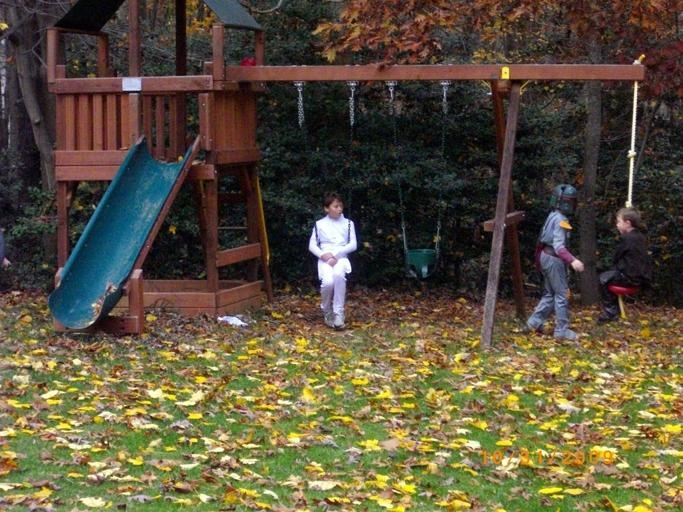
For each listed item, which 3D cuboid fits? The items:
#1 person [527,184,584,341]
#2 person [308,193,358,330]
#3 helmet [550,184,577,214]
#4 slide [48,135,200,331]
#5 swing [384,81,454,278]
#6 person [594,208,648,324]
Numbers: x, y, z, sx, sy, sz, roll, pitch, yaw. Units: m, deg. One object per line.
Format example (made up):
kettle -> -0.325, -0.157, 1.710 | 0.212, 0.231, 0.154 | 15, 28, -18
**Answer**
person -> 2.971, 0.092, 11.607 | 0.827, 2.088, 0.918 | -1, 2, -10
person -> -0.106, 0.075, 12.063 | 0.735, 1.833, 0.666 | 2, 11, -9
helmet -> 3.054, -0.778, 11.511 | 0.311, 0.397, 0.330 | 3, 5, 13
slide -> -2.771, -0.188, 10.766 | 0.952, 3.591, 0.521 | 19, -30, 2
swing -> 1.320, -1.101, 13.484 | 1.039, 2.977, 0.512 | 2, 1, -32
person -> 4.167, 0.118, 12.289 | 0.595, 1.628, 0.777 | -3, 7, -40
